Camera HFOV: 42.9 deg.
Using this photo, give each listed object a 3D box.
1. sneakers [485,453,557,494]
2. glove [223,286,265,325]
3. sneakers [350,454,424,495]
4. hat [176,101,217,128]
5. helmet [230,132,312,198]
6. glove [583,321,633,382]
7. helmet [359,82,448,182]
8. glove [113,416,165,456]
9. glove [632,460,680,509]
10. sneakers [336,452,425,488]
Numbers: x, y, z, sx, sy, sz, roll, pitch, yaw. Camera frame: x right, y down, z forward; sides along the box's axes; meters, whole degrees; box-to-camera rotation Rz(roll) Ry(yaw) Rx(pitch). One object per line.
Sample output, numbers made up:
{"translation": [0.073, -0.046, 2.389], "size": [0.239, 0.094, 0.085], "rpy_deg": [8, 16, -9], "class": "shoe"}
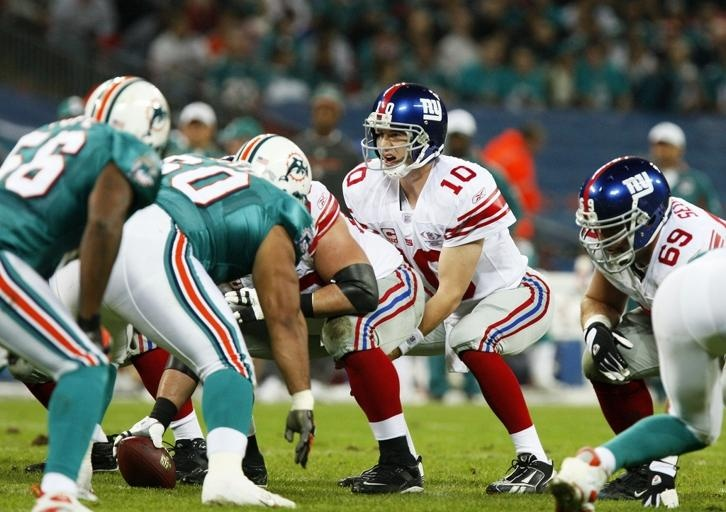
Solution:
{"translation": [0.749, 1.110, 4.678], "size": [0.467, 0.241, 0.161], "rpy_deg": [3, -11, -29], "class": "sneakers"}
{"translation": [-0.607, 0.257, 4.799], "size": [0.197, 0.205, 0.076], "rpy_deg": [-15, 6, -23], "class": "glove"}
{"translation": [0.137, 1.115, 4.603], "size": [0.388, 0.187, 0.143], "rpy_deg": [2, -8, -9], "class": "sneakers"}
{"translation": [-1.575, -1.319, 8.930], "size": [0.356, 0.223, 0.597], "rpy_deg": [0, 0, -2], "class": "hat"}
{"translation": [-0.453, -0.489, 4.790], "size": [0.383, 0.345, 0.286], "rpy_deg": [-1, 34, -39], "class": "helmet"}
{"translation": [1.230, 0.480, 4.632], "size": [0.082, 0.287, 0.218], "rpy_deg": [-41, -5, 33], "class": "glove"}
{"translation": [0.245, -0.720, 5.346], "size": [0.412, 0.495, 0.547], "rpy_deg": [6, 12, 43], "class": "helmet"}
{"translation": [-1.034, 0.844, 4.382], "size": [0.267, 0.130, 0.195], "rpy_deg": [-21, 10, -33], "class": "glove"}
{"translation": [1.443, 1.142, 4.431], "size": [0.171, 0.258, 0.095], "rpy_deg": [-10, -38, 19], "class": "glove"}
{"translation": [0.069, 1.139, 4.730], "size": [0.496, 0.227, 0.171], "rpy_deg": [-1, -3, -17], "class": "sneakers"}
